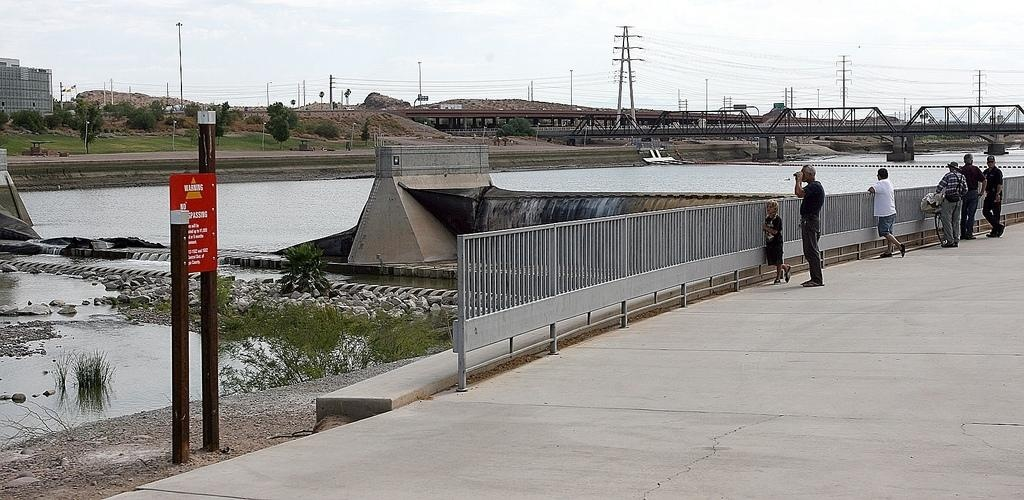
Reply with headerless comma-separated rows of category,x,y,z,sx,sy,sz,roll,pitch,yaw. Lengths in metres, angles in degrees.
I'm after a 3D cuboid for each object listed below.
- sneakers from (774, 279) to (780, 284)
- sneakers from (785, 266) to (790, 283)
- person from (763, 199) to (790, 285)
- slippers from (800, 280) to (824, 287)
sneakers,7.825,0.939,30.885,0.186,0.141,0.440,-2,-1,12
sneakers,8.218,0.729,31.098,0.225,0.457,0.191,-1,12,6
person,7.782,-0.243,30.904,0.661,2.468,1.105,3,6,28
slippers,8.683,0.981,30.158,0.500,0.094,0.220,2,0,-7
